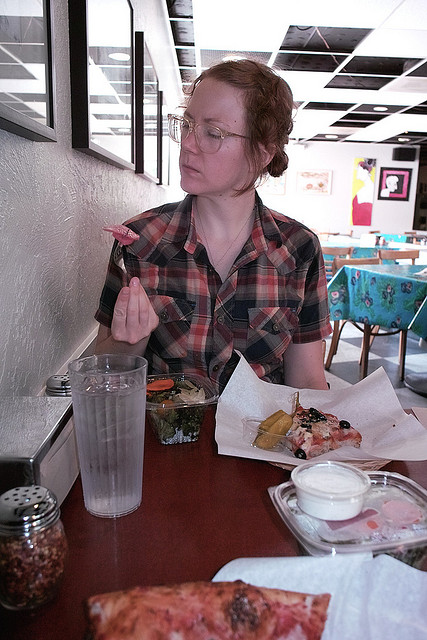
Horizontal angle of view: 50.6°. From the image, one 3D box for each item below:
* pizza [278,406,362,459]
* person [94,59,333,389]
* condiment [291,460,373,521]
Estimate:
[{"bbox_3d":[0.155,0.162,0.715,0.104,0.054,0.110,-3,10,-28],"label":"pizza"},{"bbox_3d":[0.018,-0.219,1.106,0.584,0.758,0.328,1,15,-9],"label":"person"},{"bbox_3d":[0.129,0.178,0.498,0.080,0.035,0.109,10,16,24],"label":"condiment"}]
